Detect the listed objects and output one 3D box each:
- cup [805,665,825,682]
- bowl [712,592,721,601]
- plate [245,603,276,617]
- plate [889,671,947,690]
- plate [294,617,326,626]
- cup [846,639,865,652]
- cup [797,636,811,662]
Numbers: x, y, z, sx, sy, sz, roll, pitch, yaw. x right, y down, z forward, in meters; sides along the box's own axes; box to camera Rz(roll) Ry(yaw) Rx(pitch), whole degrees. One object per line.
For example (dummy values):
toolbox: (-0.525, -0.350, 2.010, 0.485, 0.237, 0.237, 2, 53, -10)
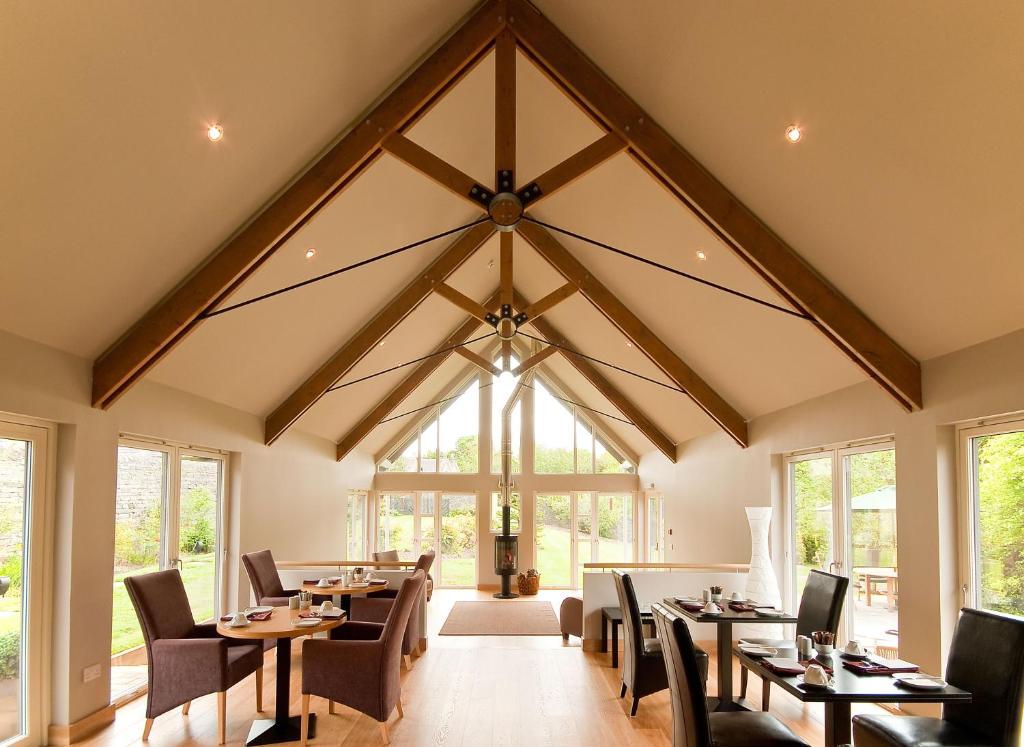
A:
cup: (2.010, 1.982, 5.223, 0.128, 0.105, 0.092, -2, -6, 23)
bowl: (1.920, 2.093, 7.449, 0.085, 0.065, 0.086, 1, -7, 0)
plate: (-2.235, 2.063, 6.920, 0.179, 0.056, 0.190, -1, -6, 15)
plate: (2.684, 2.039, 5.208, 0.295, 0.048, 0.214, -3, -7, 28)
plate: (-1.661, 2.023, 6.457, 0.216, 0.020, 0.313, 2, -6, -14)
cup: (2.496, 1.999, 5.792, 0.142, 0.082, 0.151, -1, -8, 0)
cup: (2.136, 2.022, 5.792, 0.057, 0.141, 0.154, 1, -12, 8)
